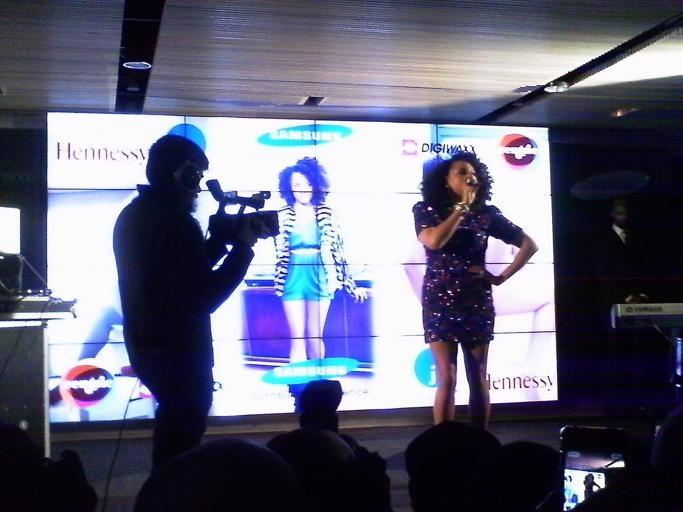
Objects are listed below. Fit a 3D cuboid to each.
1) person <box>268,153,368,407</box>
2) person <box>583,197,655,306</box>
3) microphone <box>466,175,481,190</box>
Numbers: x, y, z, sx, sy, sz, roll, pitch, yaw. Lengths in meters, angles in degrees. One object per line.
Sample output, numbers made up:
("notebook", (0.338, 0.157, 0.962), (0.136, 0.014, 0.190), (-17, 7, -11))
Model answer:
("person", (-0.210, 0.037, 5.273), (0.576, 1.502, 0.218), (1, 5, -6))
("person", (2.132, 0.003, 5.442), (0.327, 0.861, 0.575), (1, 5, -3))
("microphone", (0.838, -0.472, 4.554), (0.079, 0.031, 0.098), (5, 36, 2))
